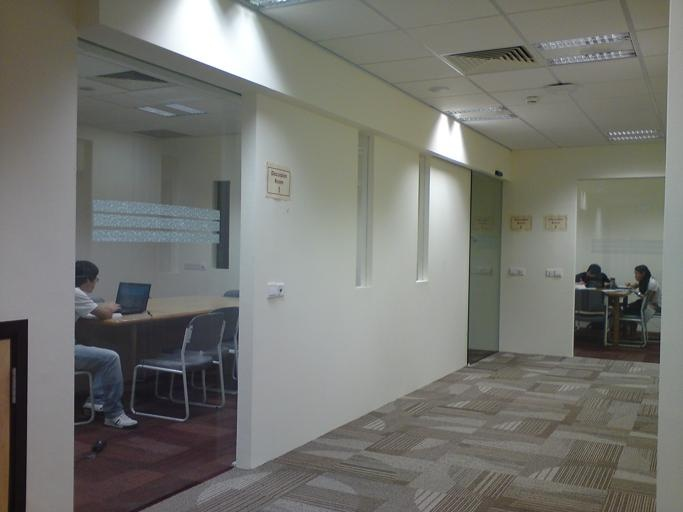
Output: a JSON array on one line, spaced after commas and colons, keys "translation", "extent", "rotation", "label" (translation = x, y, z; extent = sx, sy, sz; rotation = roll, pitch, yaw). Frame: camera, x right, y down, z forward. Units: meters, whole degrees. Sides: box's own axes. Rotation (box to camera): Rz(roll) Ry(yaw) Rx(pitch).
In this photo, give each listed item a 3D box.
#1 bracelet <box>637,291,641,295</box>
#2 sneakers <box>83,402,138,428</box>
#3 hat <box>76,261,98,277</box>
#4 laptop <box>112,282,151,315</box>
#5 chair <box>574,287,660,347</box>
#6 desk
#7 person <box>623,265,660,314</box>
[{"translation": [5.506, 0.682, 8.898], "extent": [0.067, 0.069, 0.062], "rotation": [6, 9, 30], "label": "bracelet"}, {"translation": [-1.528, 1.070, 3.202], "extent": [0.307, 0.139, 0.105], "rotation": [10, 2, -6], "label": "sneakers"}, {"translation": [-1.572, 0.078, 2.969], "extent": [0.027, 0.108, 0.152], "rotation": [2, 1, 18], "label": "hat"}, {"translation": [-1.456, 0.281, 3.215], "extent": [0.285, 0.194, 0.248], "rotation": [2, -1, 28], "label": "laptop"}, {"translation": [5.022, 1.030, 9.099], "extent": [1.465, 0.747, 1.060], "rotation": [1, 5, 21], "label": "chair"}, {"translation": [4.953, 1.083, 9.502], "extent": [1.152, 0.933, 1.221], "rotation": [1, 6, 15], "label": "desk"}, {"translation": [5.548, 0.622, 8.874], "extent": [0.558, 0.922, 0.256], "rotation": [2, 1, 25], "label": "person"}]
